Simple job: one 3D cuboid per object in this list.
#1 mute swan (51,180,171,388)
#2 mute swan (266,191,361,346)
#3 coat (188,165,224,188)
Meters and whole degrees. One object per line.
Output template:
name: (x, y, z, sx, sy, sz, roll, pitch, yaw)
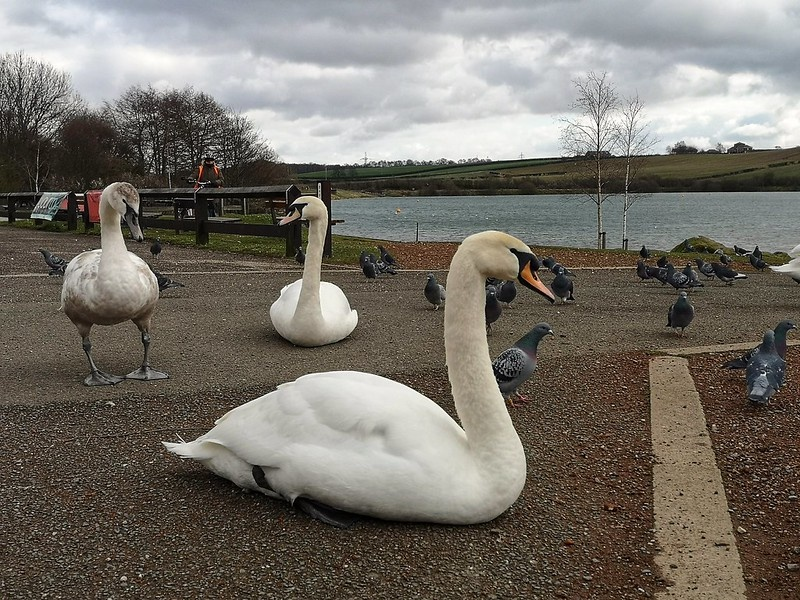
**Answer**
mute swan: (-3.215, -0.215, 8.163, 0.989, 2.099, 2.550, -2, 7, -31)
mute swan: (-1.188, -0.526, 10.368, 1.237, 2.048, 2.700, 2, 14, -5)
coat: (-6.540, -4.126, 25.183, 0.936, 0.828, 1.287, 2, 26, -24)
